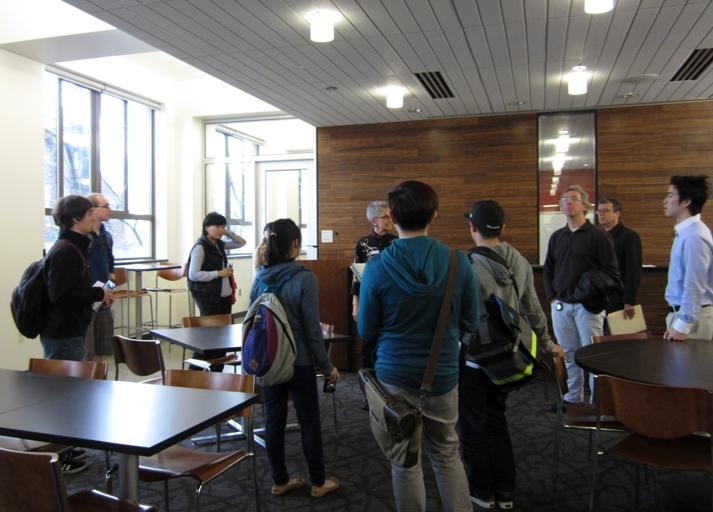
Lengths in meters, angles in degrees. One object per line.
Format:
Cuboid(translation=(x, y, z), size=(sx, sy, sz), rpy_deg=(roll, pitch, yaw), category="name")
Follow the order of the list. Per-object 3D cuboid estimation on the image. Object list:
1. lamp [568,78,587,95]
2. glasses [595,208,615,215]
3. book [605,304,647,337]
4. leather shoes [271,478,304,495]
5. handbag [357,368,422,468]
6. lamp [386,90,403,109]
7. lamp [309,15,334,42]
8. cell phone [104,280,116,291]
Cuboid(translation=(2.369, -1.812, 5.755), size=(0.168, 0.143, 0.271), rpy_deg=(-1, 3, 17), category="lamp")
Cuboid(translation=(2.678, -0.473, 5.767), size=(0.137, 0.040, 0.130), rpy_deg=(5, -4, -29), category="glasses")
Cuboid(translation=(2.398, 0.601, 4.796), size=(0.327, 0.300, 0.075), rpy_deg=(-12, -8, -10), category="book")
Cuboid(translation=(-0.509, 1.746, 4.035), size=(0.097, 0.084, 0.246), rpy_deg=(3, 3, 41), category="leather shoes")
Cuboid(translation=(0.216, 0.961, 3.106), size=(0.500, 0.424, 0.179), rpy_deg=(-2, -19, -39), category="handbag")
Cuboid(translation=(0.450, -1.790, 6.164), size=(0.182, 0.161, 0.178), rpy_deg=(-1, 3, -27), category="lamp")
Cuboid(translation=(-0.273, -1.870, 4.431), size=(0.207, 0.145, 0.200), rpy_deg=(0, -3, -12), category="lamp")
Cuboid(translation=(-2.426, 0.292, 5.288), size=(0.100, 0.098, 0.027), rpy_deg=(33, -7, 27), category="cell phone")
